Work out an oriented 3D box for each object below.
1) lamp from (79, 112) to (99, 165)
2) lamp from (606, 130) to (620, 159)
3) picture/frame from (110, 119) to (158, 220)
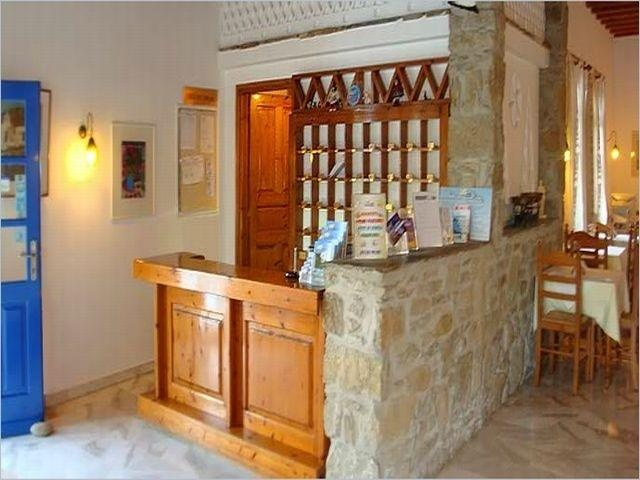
[{"bbox_3d":[-2.261,-0.981,4.712,0.171,0.499,0.088,-8,11,-37],"label":"lamp"},{"bbox_3d":[6.047,-1.934,9.975,0.241,0.595,1.164,4,11,31],"label":"lamp"},{"bbox_3d":[-1.962,-0.725,5.089,0.101,1.000,0.563,4,11,31],"label":"picture/frame"}]
